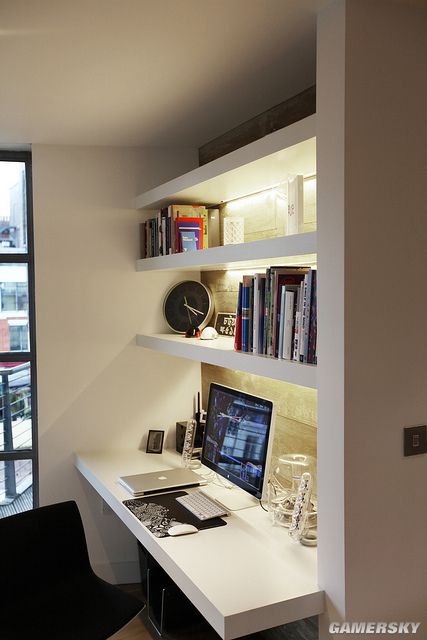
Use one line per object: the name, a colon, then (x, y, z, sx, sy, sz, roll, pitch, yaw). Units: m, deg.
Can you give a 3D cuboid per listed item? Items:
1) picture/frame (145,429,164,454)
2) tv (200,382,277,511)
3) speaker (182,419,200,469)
picture/frame: (-0.332, 0.701, 2.624, 0.109, 0.153, 0.015, 4, -37, 0)
tv: (0.092, 0.482, 1.918, 0.040, 0.380, 0.460, 7, -2, -32)
speaker: (-0.102, 0.623, 2.332, 0.091, 0.250, 0.098, 1, 10, -6)
